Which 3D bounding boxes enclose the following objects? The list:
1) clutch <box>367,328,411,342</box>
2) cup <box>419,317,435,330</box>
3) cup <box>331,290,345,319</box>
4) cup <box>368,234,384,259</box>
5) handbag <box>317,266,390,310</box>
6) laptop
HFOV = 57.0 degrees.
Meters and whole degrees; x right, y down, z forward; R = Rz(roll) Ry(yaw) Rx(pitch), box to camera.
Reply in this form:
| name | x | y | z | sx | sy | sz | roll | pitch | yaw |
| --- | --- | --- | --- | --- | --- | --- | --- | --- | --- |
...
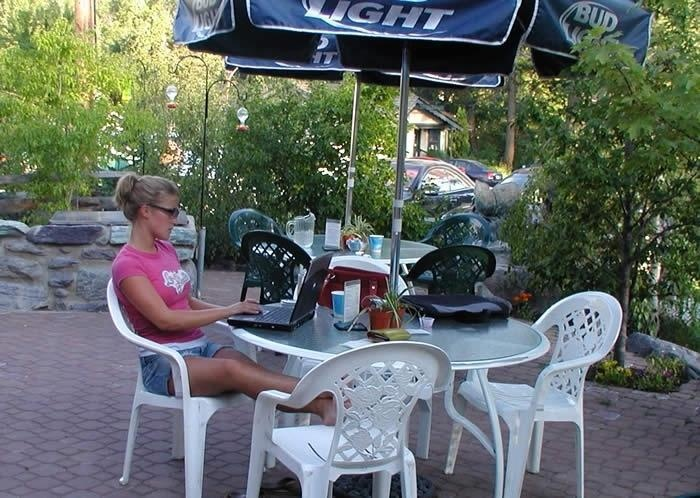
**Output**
| name | x | y | z | sx | sy | sz | roll | pitch | yaw |
| --- | --- | --- | --- | --- | --- | --- | --- | --- | --- |
| clutch | 0.212 | 0.481 | 3.616 | 0.221 | 0.068 | 0.158 | 8 | 7 | 23 |
| cup | 0.458 | 0.440 | 3.886 | 0.059 | 0.052 | 0.077 | 5 | 15 | 8 |
| cup | -0.065 | 0.341 | 3.937 | 0.114 | 0.142 | 0.124 | 3 | 9 | 0 |
| cup | 0.269 | -0.016 | 6.066 | 0.163 | 0.195 | 0.177 | 0 | 3 | 0 |
| handbag | 0.029 | 0.240 | 4.099 | 0.319 | 0.236 | 0.262 | 15 | 5 | 18 |
| laptop | -0.387 | 0.325 | 3.875 | 0.409 | 0.365 | 0.547 | 4 | 2 | 10 |
